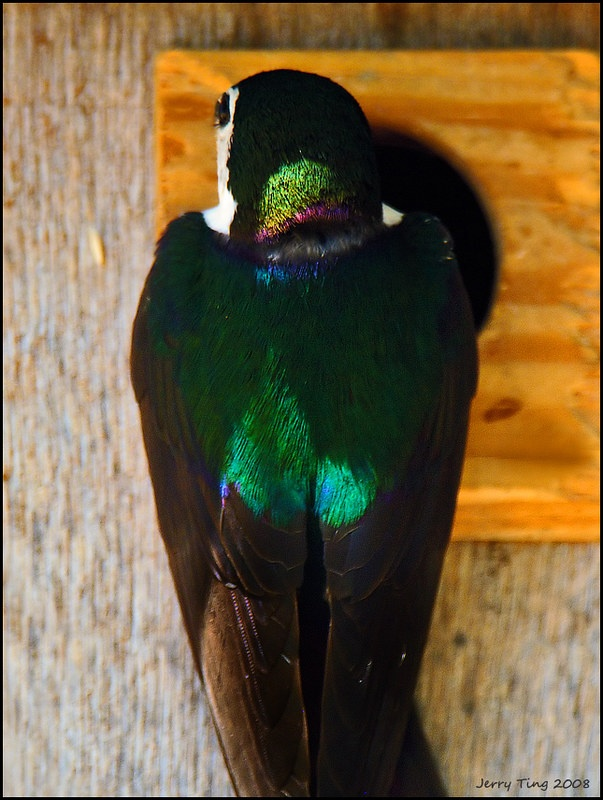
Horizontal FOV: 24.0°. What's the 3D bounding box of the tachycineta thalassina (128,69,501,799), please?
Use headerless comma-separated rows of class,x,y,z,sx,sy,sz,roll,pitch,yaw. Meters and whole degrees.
tachycineta thalassina,0.026,0.023,1.581,0.384,0.717,0.437,-5,23,-16
